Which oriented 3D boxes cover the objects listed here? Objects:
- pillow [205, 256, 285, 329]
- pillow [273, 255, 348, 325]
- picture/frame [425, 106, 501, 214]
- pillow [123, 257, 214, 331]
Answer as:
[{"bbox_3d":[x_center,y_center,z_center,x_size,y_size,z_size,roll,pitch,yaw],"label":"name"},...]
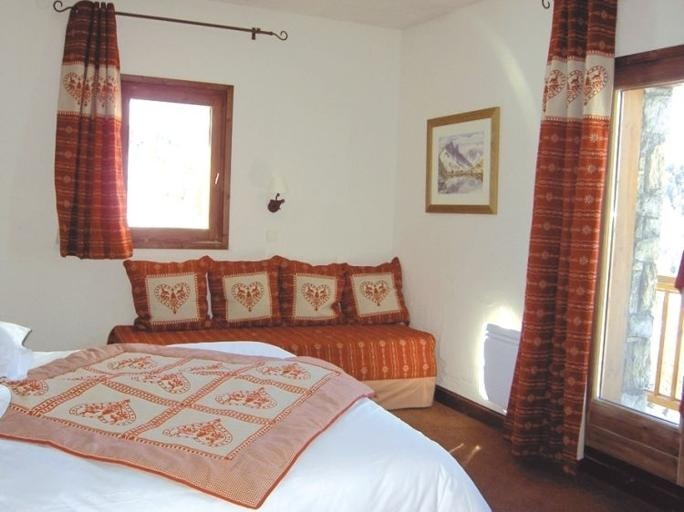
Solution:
[{"bbox_3d":[-0.731,0.295,3.884,0.486,0.494,0.164,-1,-10,-17],"label":"pillow"},{"bbox_3d":[-0.247,0.292,4.046,0.488,0.496,0.166,2,-11,-8],"label":"pillow"},{"bbox_3d":[0.920,-0.708,3.854,0.061,0.904,0.863,-1,0,-33],"label":"picture/frame"},{"bbox_3d":[-1.232,0.278,3.728,0.470,0.467,0.156,-2,-14,-24],"label":"pillow"}]
